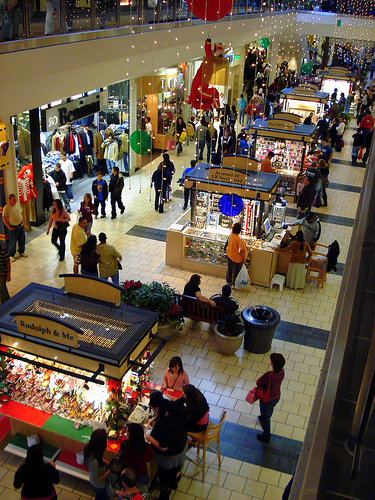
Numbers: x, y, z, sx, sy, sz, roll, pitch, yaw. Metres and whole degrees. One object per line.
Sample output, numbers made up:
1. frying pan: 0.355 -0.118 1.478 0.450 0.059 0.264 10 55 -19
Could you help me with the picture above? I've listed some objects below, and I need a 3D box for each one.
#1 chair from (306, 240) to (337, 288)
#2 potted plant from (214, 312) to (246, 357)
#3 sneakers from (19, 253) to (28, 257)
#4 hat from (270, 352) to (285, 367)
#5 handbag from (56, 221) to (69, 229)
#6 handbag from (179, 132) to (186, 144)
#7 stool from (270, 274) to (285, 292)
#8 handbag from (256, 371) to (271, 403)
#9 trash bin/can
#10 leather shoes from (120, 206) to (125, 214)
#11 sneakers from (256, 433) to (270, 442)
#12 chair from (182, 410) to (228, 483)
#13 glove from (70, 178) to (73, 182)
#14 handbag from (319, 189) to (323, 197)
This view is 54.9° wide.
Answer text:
1. chair: 3.387 0.420 9.145 0.587 0.914 0.627 10 54 11
2. potted plant: 0.817 1.644 6.838 0.650 0.711 0.669 6 4 27
3. sneakers: -4.274 0.161 9.424 0.177 0.180 0.093 2 64 -10
4. hat: 1.277 1.591 5.132 0.198 0.247 0.181 -1 21 -1
5. handbag: -3.135 -0.621 9.009 0.057 0.154 0.159 12 29 42
6. handbag: -0.223 -4.776 15.335 0.223 0.471 0.474 13 55 -8
7. stool: 2.207 0.789 8.882 0.357 0.304 0.376 16 55 11
8. handbag: 1.065 1.964 5.217 0.215 0.449 0.174 -5 8 34
9. trash bin/can: 1.363 1.468 7.145 0.802 0.885 0.844 8 38 11
10. leather shoes: -2.078 -1.248 11.534 0.117 0.275 0.252 10 5 -7
11. sneakers: 1.140 2.834 5.409 0.191 0.122 0.064 3 21 8
12. chair: 0.205 2.662 5.011 0.526 0.794 0.548 2 8 -22
13. glove: -3.710 -2.206 11.495 0.082 0.147 0.093 3 -2 -6
14. handbag: 4.642 -1.968 12.587 0.052 0.199 0.198 7 5 26
